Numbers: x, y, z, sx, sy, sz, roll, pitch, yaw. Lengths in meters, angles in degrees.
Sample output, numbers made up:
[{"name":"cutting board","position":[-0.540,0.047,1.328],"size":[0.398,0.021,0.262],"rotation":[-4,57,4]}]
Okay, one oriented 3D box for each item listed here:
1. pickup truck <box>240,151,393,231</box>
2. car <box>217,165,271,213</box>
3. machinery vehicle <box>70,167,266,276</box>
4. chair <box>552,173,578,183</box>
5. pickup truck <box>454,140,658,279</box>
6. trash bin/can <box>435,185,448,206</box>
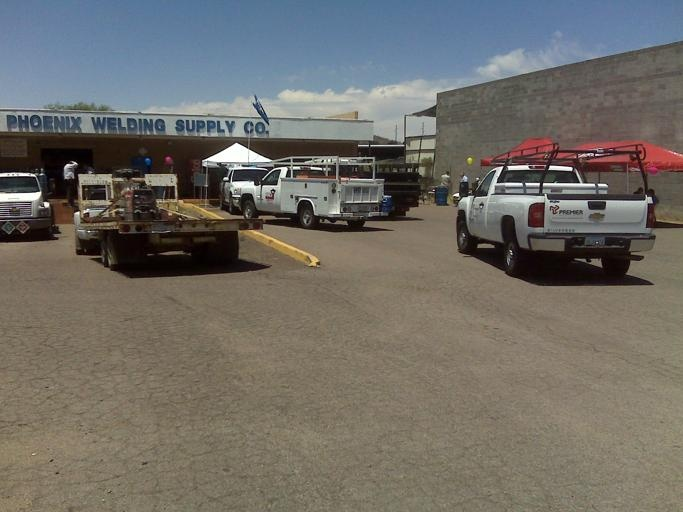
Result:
[{"name":"pickup truck","position":[-1.558,-2.707,21.757],"size":[2.914,2.580,6.389],"rotation":[-6,14,-39]},{"name":"car","position":[-5.122,-3.481,26.368],"size":[1.855,1.547,3.511],"rotation":[-2,7,-18]},{"name":"machinery vehicle","position":[-5.491,-0.975,13.270],"size":[2.657,1.899,5.505],"rotation":[-8,-1,-31]},{"name":"chair","position":[5.205,-1.804,11.826],"size":[0.247,0.196,0.420],"rotation":[2,11,1]},{"name":"pickup truck","position":[4.576,-1.002,11.242],"size":[2.683,2.681,3.374],"rotation":[1,8,2]},{"name":"trash bin/can","position":[7.302,-4.365,37.395],"size":[0.997,1.376,0.766],"rotation":[0,7,-4]}]
